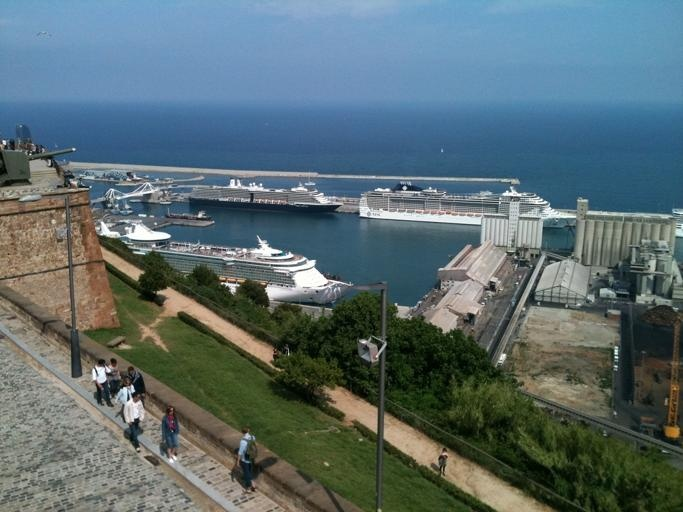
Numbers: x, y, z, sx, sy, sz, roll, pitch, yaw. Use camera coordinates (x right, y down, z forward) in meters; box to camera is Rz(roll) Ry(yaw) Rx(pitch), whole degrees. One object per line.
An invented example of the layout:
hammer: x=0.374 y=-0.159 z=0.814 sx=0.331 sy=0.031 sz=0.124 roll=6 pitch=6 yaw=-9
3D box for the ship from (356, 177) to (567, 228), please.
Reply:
ship: x=21.052 y=-8.304 z=103.056 sx=38.615 sy=6.114 sz=7.431 roll=5 pitch=8 yaw=22

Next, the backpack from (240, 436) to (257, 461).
backpack: x=-1.918 y=3.938 z=12.457 sx=0.306 sy=0.533 sz=0.356 roll=0 pitch=13 yaw=-1

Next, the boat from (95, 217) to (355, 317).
boat: x=-10.159 y=0.775 z=55.985 sx=31.346 sy=7.248 sz=6.554 roll=6 pitch=19 yaw=15

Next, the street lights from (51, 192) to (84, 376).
street lights: x=-9.829 y=0.623 z=21.674 sx=1.014 sy=5.795 sz=0.725 roll=-4 pitch=11 yaw=-26

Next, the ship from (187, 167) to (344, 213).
ship: x=-14.103 y=-10.775 z=112.649 sx=26.533 sy=4.514 sz=5.226 roll=4 pitch=13 yaw=16
